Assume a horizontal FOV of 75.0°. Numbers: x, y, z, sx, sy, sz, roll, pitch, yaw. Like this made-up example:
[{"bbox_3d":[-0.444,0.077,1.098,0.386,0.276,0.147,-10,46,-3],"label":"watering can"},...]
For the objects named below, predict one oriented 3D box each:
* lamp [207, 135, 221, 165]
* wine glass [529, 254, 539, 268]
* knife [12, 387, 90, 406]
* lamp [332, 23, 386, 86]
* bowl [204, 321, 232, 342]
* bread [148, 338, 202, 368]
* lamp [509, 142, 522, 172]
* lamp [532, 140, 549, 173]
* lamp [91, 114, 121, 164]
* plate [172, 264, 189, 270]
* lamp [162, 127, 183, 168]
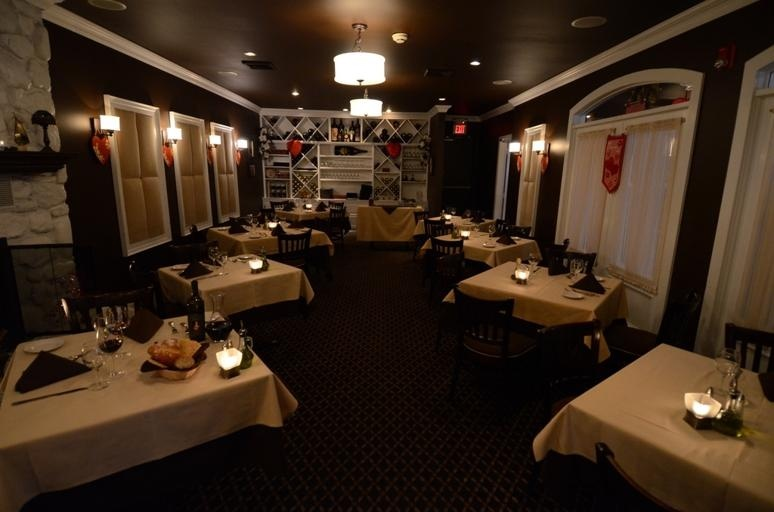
[{"bbox_3d":[-3.087,-1.934,9.029,0.167,0.490,0.540,-2,13,-11],"label":"lamp"},{"bbox_3d":[1.593,0.042,5.516,0.109,0.104,0.129,7,18,24],"label":"wine glass"},{"bbox_3d":[-2.391,0.992,3.559,0.406,0.037,0.059,-7,42,-22],"label":"knife"},{"bbox_3d":[-0.322,-2.344,5.764,0.571,0.624,0.563,22,32,33],"label":"lamp"},{"bbox_3d":[-1.360,0.587,4.025,0.166,0.130,0.164,2,3,0],"label":"bowl"},{"bbox_3d":[-1.552,0.677,3.801,0.215,0.096,0.281,5,9,-2],"label":"bread"},{"bbox_3d":[2.442,-1.899,9.599,0.221,0.580,0.544,3,13,9],"label":"lamp"},{"bbox_3d":[2.533,-1.654,8.341,0.197,0.521,0.279,0,13,-4],"label":"lamp"},{"bbox_3d":[-3.461,-1.441,6.161,0.306,0.591,0.271,-8,16,-34],"label":"lamp"},{"bbox_3d":[-2.197,0.110,5.347,0.090,0.022,0.089,-6,12,-44],"label":"plate"},{"bbox_3d":[-3.211,-1.632,7.520,0.179,0.564,0.333,4,13,14],"label":"lamp"}]
